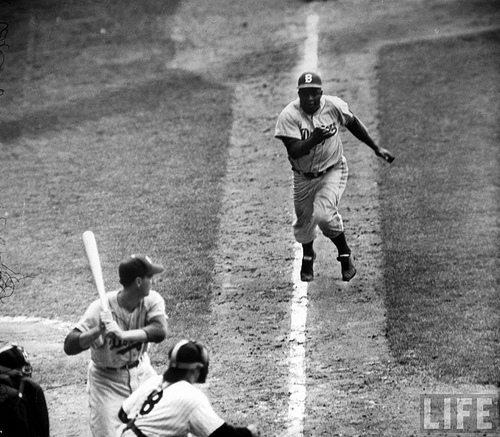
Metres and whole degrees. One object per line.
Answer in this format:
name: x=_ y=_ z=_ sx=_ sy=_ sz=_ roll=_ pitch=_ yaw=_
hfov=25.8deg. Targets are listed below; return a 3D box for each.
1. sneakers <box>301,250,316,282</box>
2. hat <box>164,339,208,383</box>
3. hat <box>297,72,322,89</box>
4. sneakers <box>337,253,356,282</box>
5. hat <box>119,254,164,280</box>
sneakers: x=0.735 y=0.604 z=14.028 sx=0.121 sy=0.164 sz=0.393 roll=0 pitch=52 yaw=6
hat: x=-0.635 y=1.432 z=11.177 sx=0.340 sy=0.400 sz=0.421 roll=5 pitch=7 yaw=17
hat: x=0.724 y=-1.664 z=13.370 sx=0.265 sy=0.216 sz=0.209 roll=-4 pitch=6 yaw=11
sneakers: x=1.226 y=0.594 z=13.849 sx=0.151 sy=0.178 sz=0.416 roll=-5 pitch=50 yaw=10
hat: x=-1.215 y=0.513 z=11.975 sx=0.345 sy=0.225 sz=0.236 roll=-4 pitch=16 yaw=-14
